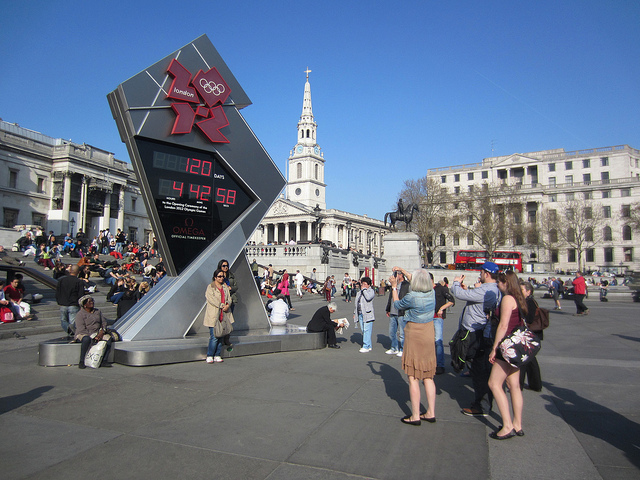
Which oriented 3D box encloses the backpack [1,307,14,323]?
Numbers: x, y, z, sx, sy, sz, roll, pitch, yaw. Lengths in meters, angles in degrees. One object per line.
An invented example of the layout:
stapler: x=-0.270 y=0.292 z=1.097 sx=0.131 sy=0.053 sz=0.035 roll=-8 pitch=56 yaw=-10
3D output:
backpack: x=-8.905 y=2.122 z=12.276 sx=0.254 sy=0.544 sz=0.345 roll=-15 pitch=-12 yaw=26

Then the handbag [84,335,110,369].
handbag: x=-4.444 y=2.234 z=8.622 sx=0.333 sy=0.475 sz=0.137 roll=-5 pitch=-38 yaw=19

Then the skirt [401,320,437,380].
skirt: x=1.404 y=1.558 z=6.176 sx=0.449 sy=0.805 sz=0.318 roll=1 pitch=-1 yaw=12

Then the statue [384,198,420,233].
statue: x=6.760 y=-2.085 z=36.068 sx=2.800 sy=2.944 sz=0.875 roll=1 pitch=5 yaw=13

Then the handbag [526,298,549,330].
handbag: x=3.673 y=1.283 z=7.321 sx=0.328 sy=0.631 sz=0.482 roll=-6 pitch=-17 yaw=30

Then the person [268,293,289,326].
person: x=-1.397 y=2.350 z=14.510 sx=0.600 sy=1.430 sz=0.978 roll=2 pitch=36 yaw=-5

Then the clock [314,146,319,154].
clock: x=-0.960 y=-22.106 z=106.686 sx=0.209 sy=1.921 sz=1.998 roll=1 pitch=-1 yaw=29

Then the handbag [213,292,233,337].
handbag: x=-2.084 y=1.744 z=9.081 sx=0.407 sy=0.613 sz=0.337 roll=2 pitch=-1 yaw=-34

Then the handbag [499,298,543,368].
handbag: x=2.709 y=1.250 z=5.863 sx=0.571 sy=0.892 sz=0.288 roll=2 pitch=-1 yaw=-34

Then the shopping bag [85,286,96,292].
shopping bag: x=-8.411 y=1.798 z=15.879 sx=0.322 sy=0.152 sz=0.204 roll=-4 pitch=-3 yaw=32

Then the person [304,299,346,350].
person: x=0.247 y=2.331 z=12.668 sx=0.929 sy=1.286 sz=3.084 roll=1 pitch=-1 yaw=6

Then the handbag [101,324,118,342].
handbag: x=-4.415 y=1.943 z=9.074 sx=0.282 sy=0.330 sz=0.500 roll=1 pitch=-1 yaw=-6
